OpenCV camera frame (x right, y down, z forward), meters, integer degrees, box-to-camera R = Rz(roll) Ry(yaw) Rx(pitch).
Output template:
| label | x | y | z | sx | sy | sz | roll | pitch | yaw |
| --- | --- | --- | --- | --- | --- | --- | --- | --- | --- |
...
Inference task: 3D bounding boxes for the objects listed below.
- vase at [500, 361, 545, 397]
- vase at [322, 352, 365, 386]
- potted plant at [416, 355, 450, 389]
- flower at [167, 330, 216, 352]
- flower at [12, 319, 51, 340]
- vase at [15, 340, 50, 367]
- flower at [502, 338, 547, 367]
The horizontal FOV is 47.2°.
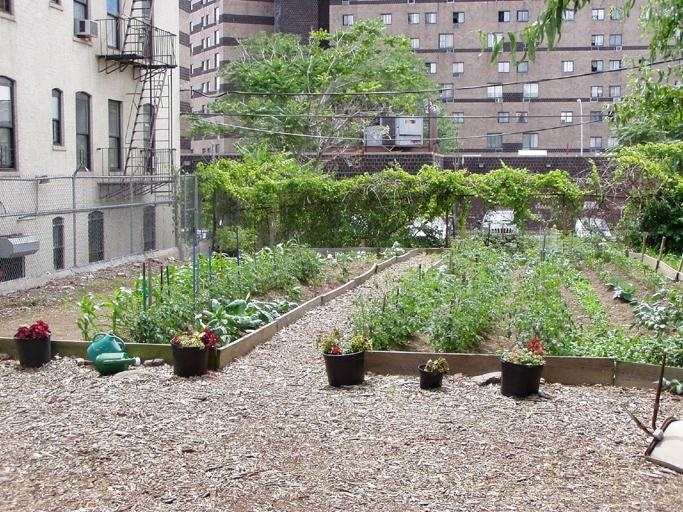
| label | x | y | z | sx | sy | sz | roll | pitch | yaw |
| --- | --- | --- | --- | --- | --- | --- | --- | --- | --- |
| vase | 2.185 | 1.497 | 9.467 | 0.441 | 0.355 | 0.387 | 11 | -7 | -42 |
| vase | 0.062 | 1.426 | 10.008 | 0.494 | 0.408 | 0.536 | -5 | -1 | -10 |
| potted plant | 1.144 | 1.457 | 9.760 | 0.312 | 0.403 | 0.401 | 2 | 5 | -25 |
| flower | -1.911 | 1.099 | 10.104 | 0.350 | 0.197 | 0.325 | -1 | 2 | 14 |
| flower | -4.220 | 1.028 | 10.640 | 0.433 | 0.222 | 0.405 | -8 | 12 | -41 |
| vase | -4.145 | 1.302 | 10.524 | 0.346 | 0.312 | 0.372 | 2 | -6 | -36 |
| flower | 2.217 | 1.194 | 9.491 | 0.355 | 0.301 | 0.425 | -3 | 0 | 26 |
